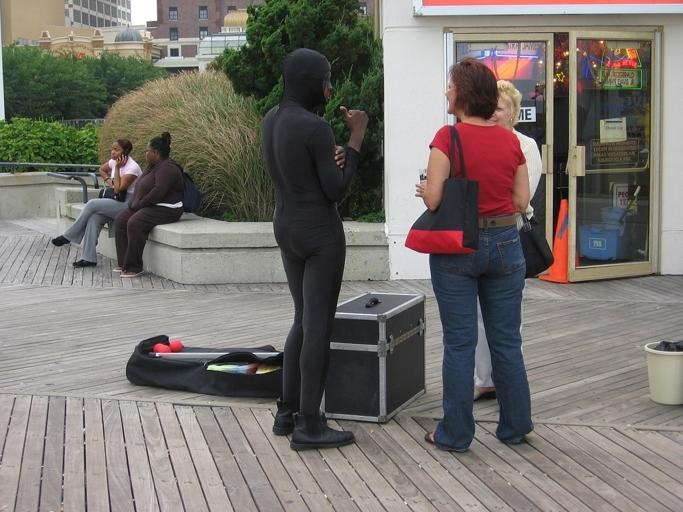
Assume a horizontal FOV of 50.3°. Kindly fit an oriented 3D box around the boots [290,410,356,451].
[{"bbox_3d":[-0.155,1.080,4.681,0.443,0.312,0.175,-4,5,-16],"label":"boots"}]

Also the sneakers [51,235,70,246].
[{"bbox_3d":[-4.090,-0.216,10.693,0.204,0.173,0.474,-24,4,-13],"label":"sneakers"}]

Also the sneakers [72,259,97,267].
[{"bbox_3d":[-3.580,0.103,10.203,0.268,0.133,0.134,6,4,-10],"label":"sneakers"}]

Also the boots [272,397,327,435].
[{"bbox_3d":[-0.365,1.055,4.864,0.109,0.233,0.376,7,-7,14],"label":"boots"}]

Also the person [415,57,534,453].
[{"bbox_3d":[0.841,0.015,4.450,0.709,2.395,0.292,-3,8,-18],"label":"person"}]

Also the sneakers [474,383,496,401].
[{"bbox_3d":[1.036,0.999,5.357,0.208,0.101,0.082,3,5,-7],"label":"sneakers"}]

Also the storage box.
[{"bbox_3d":[0.253,0.692,5.301,0.567,0.774,0.910,0,5,31],"label":"storage box"}]

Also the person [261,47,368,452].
[{"bbox_3d":[-0.165,0.136,4.532,0.632,2.141,0.363,0,7,2],"label":"person"}]

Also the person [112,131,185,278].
[{"bbox_3d":[-2.576,-0.536,9.832,0.958,1.519,0.636,-2,8,-16],"label":"person"}]
